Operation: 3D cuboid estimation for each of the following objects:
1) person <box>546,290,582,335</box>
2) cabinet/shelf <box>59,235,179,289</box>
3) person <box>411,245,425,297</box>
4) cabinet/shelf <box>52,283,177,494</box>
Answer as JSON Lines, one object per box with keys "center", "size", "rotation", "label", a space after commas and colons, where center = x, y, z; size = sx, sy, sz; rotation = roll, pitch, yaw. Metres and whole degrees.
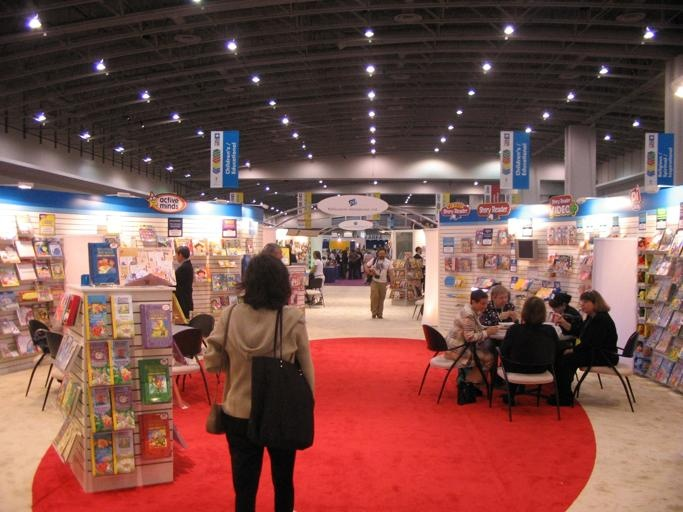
{"center": [2.901, 0.740, 6.533], "size": [0.270, 0.708, 0.282], "rotation": [-32, 5, 20], "label": "person"}
{"center": [-2.740, 0.078, 6.115], "size": [0.938, 0.580, 0.482], "rotation": [1, -6, -22], "label": "cabinet/shelf"}
{"center": [2.246, 0.592, 14.750], "size": [0.331, 1.239, 0.432], "rotation": [2, 4, 13], "label": "person"}
{"center": [-1.783, 1.003, 3.975], "size": [0.939, 1.522, 0.489], "rotation": [0, 4, -5], "label": "cabinet/shelf"}
